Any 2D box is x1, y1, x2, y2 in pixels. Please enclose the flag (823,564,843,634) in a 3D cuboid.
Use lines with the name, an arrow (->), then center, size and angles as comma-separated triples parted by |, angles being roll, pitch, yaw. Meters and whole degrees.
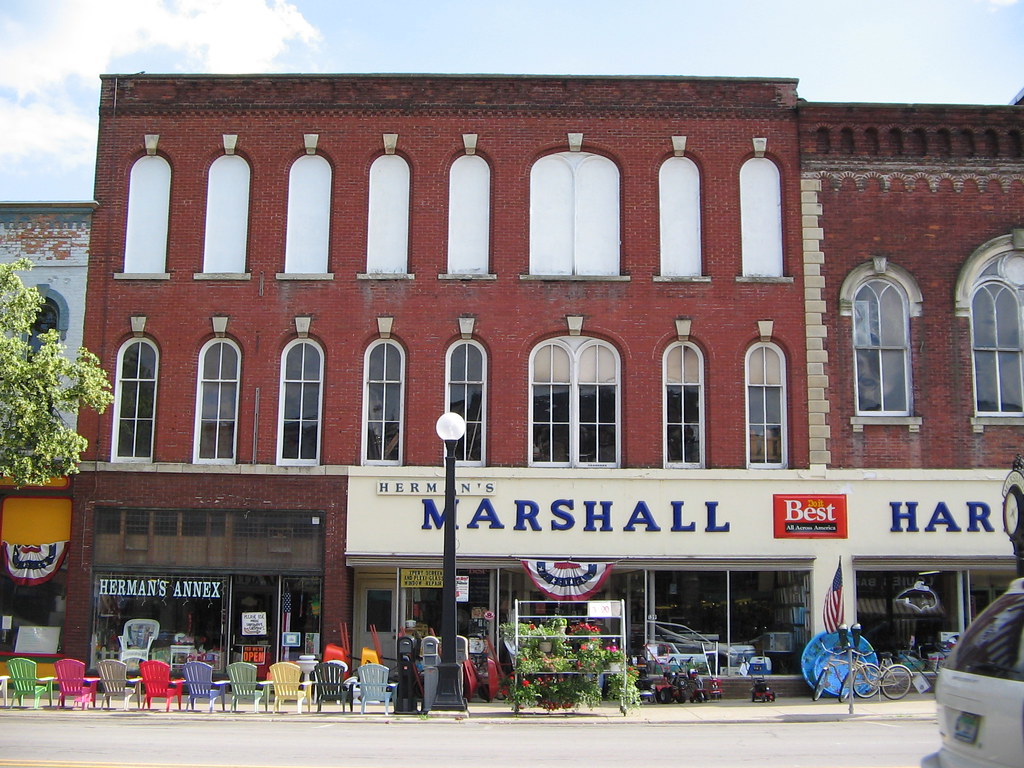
flag -> 7.780, 5.045, 31.428 | 0.498, 1.704, 0.584 | -3, -13, 14

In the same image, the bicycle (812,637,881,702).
bicycle -> 7.989, 6.744, 30.478 | 1.756, 1.096, 1.024 | 2, -19, -10

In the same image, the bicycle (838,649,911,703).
bicycle -> 8.491, 6.718, 30.313 | 1.809, 1.125, 0.913 | -9, -11, 43

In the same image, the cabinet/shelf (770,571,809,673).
cabinet/shelf -> 6.824, 5.839, 31.985 | 1.070, 2.658, 0.296 | 1, -5, -8

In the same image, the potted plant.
potted plant -> 1.166, 6.021, 29.299 | 2.547, 1.848, 2.135 | 3, -28, -5
